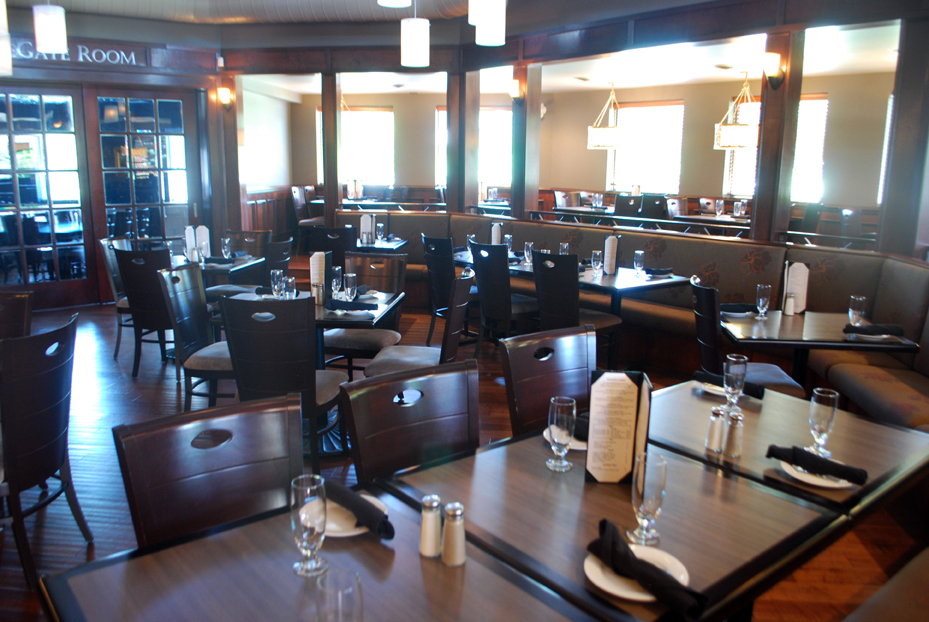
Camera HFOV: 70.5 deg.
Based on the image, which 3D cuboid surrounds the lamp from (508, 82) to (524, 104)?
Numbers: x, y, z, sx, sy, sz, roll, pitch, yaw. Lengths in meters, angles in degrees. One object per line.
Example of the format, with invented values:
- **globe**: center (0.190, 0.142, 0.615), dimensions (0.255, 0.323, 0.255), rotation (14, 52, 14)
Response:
- **lamp**: center (0.639, -2.609, 7.755), dimensions (0.197, 0.257, 0.069), rotation (10, 16, 35)

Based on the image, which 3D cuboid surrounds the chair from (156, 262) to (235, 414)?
- **chair**: center (-1.661, 0.216, 4.527), dimensions (0.666, 1.019, 0.583), rotation (1, 13, -2)

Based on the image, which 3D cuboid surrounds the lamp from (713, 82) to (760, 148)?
- **lamp**: center (4.021, -2.950, 9.517), dimensions (0.574, 0.565, 0.565), rotation (-3, 13, -45)

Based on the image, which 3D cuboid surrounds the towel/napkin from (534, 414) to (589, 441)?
- **towel/napkin**: center (0.428, 0.474, 2.677), dimensions (0.121, 0.123, 0.118), rotation (2, 4, -4)

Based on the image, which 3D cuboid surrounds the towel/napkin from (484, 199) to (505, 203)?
- **towel/napkin**: center (0.562, -2.043, 12.270), dimensions (0.301, 0.078, 0.274), rotation (-2, 6, -26)

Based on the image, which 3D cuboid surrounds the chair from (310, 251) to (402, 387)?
- **chair**: center (-0.742, 0.215, 4.789), dimensions (0.523, 0.568, 0.901), rotation (-1, 36, 3)

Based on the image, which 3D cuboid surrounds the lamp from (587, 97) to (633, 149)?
- **lamp**: center (2.812, -3.745, 12.676), dimensions (0.556, 0.547, 0.561), rotation (7, -4, 22)

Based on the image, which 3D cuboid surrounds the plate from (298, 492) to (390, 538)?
- **plate**: center (-0.365, 0.673, 2.136), dimensions (0.160, 0.021, 0.156), rotation (4, 19, -1)

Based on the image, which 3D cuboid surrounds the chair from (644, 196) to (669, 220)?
- **chair**: center (2.697, -1.456, 9.337), dimensions (0.346, 0.347, 0.639), rotation (1, 1, 12)

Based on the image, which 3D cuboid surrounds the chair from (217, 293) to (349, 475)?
- **chair**: center (-1.079, 0.467, 4.030), dimensions (0.591, 1.211, 0.667), rotation (1, 12, 1)

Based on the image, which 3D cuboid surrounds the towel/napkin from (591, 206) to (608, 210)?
- **towel/napkin**: center (2.215, -1.700, 10.920), dimensions (0.214, 0.026, 0.833), rotation (2, 12, 10)

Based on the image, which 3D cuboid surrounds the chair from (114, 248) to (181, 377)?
- **chair**: center (-2.513, -0.043, 5.136), dimensions (0.479, 0.919, 0.471), rotation (1, -7, -38)

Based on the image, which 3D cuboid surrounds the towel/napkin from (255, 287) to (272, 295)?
- **towel/napkin**: center (-1.444, -0.136, 4.745), dimensions (0.115, 0.041, 0.105), rotation (-1, 7, -36)

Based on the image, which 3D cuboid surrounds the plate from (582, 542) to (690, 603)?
- **plate**: center (0.483, 0.803, 1.970), dimensions (0.171, 0.030, 0.181), rotation (10, 20, 37)

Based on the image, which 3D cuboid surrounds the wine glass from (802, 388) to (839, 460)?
- **wine glass**: center (1.360, 0.464, 2.580), dimensions (0.100, 0.247, 0.099), rotation (4, 47, 37)

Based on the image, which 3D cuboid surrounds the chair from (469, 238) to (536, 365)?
- **chair**: center (0.259, -0.043, 5.790), dimensions (0.579, 0.993, 0.655), rotation (1, 14, -17)

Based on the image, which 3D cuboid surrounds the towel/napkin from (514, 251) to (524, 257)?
- **towel/napkin**: center (0.555, -0.563, 6.646), dimensions (0.091, 0.063, 0.090), rotation (-11, 16, -36)

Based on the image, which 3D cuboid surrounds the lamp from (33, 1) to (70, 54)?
- **lamp**: center (-3.813, -2.616, 6.090), dimensions (0.236, 0.406, 0.154), rotation (-6, 14, -24)

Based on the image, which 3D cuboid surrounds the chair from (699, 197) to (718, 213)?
- **chair**: center (4.102, -1.775, 11.103), dimensions (0.291, 0.341, 0.274), rotation (3, 10, 25)

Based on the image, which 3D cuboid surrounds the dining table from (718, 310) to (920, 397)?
- **dining table**: center (2.128, 0.161, 4.169), dimensions (0.778, 0.546, 0.766), rotation (-2, 9, -12)

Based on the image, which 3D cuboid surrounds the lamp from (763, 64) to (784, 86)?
- **lamp**: center (2.649, -2.008, 5.642), dimensions (0.124, 0.159, 0.163), rotation (-8, -7, 43)

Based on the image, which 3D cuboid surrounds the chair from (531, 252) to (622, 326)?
- **chair**: center (0.896, -0.147, 5.416), dimensions (0.659, 0.657, 0.408), rotation (-1, 13, -6)
